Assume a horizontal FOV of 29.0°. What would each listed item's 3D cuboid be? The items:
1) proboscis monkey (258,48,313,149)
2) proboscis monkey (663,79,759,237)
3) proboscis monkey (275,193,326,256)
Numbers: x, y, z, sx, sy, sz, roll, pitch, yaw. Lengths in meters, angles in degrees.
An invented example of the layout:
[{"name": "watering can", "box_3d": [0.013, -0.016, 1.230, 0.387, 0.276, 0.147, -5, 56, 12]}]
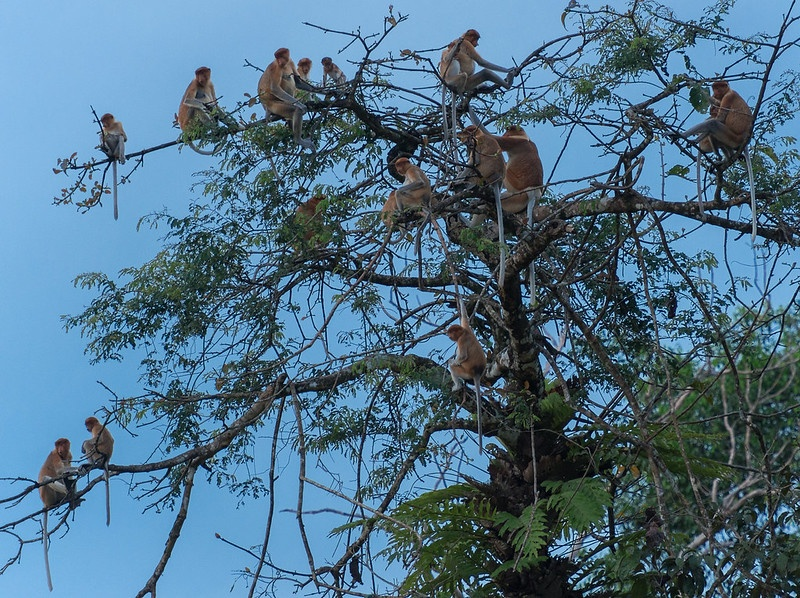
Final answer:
[{"name": "proboscis monkey", "box_3d": [-1.371, -2.491, 19.035, 0.687, 0.576, 1.276, 3, -75, 19]}, {"name": "proboscis monkey", "box_3d": [3.608, -1.619, 17.554, 0.820, 0.470, 1.855, 2, -105, 10]}, {"name": "proboscis monkey", "box_3d": [-1.154, -0.863, 17.864, 0.301, 0.600, 1.179, 5, -99, 13]}]
